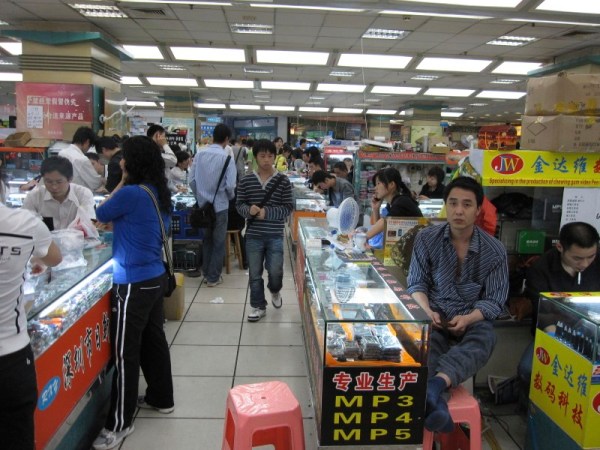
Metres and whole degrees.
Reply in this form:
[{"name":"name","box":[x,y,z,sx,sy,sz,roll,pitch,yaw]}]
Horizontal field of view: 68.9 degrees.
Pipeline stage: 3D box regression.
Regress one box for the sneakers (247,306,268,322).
[{"name":"sneakers","box":[-0.446,0.899,4.389,0.088,0.105,0.244,1,-12,14]}]

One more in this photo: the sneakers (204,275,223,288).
[{"name":"sneakers","box":[-1.069,0.695,5.325,0.087,0.107,0.250,0,-2,4]}]

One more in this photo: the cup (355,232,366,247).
[{"name":"cup","box":[0.439,0.106,3.209,0.086,0.127,0.087,0,3,0]}]

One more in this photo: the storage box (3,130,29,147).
[{"name":"storage box","box":[-4.244,-1.299,6.534,0.317,0.201,0.447,-3,15,-20]}]

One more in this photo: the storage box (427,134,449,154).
[{"name":"storage box","box":[2.243,-1.327,7.161,0.358,0.229,0.367,3,18,5]}]

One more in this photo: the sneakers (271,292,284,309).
[{"name":"sneakers","box":[-0.250,0.770,4.626,0.081,0.199,0.077,-6,2,-3]}]

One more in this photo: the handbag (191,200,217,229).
[{"name":"handbag","box":[-1.072,-0.120,4.911,0.306,0.306,0.160,-3,0,4]}]
